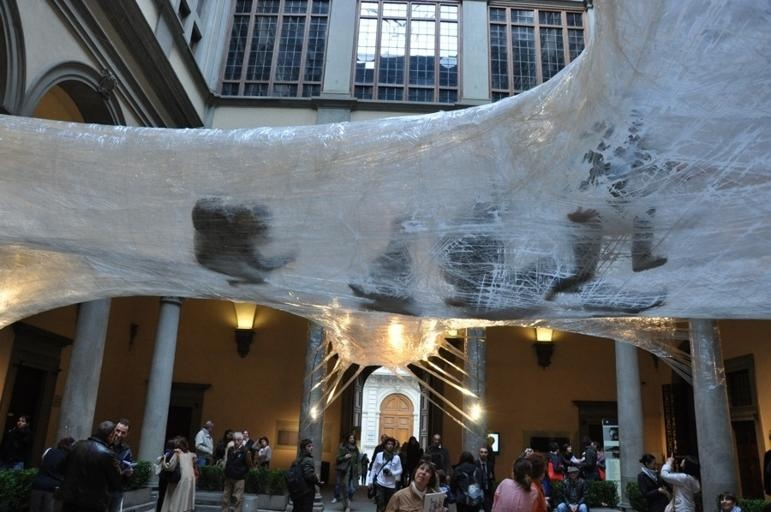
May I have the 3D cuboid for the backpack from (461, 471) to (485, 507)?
[{"bbox_3d":[1.194,3.259,7.363,0.323,0.528,0.202,13,-25,-23],"label":"backpack"}]

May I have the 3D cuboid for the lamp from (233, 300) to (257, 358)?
[{"bbox_3d":[-4.100,2.153,15.317,0.740,1.499,0.531,8,-23,-12],"label":"lamp"}]

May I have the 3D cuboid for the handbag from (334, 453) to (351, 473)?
[{"bbox_3d":[-0.837,4.086,10.457,0.336,0.312,0.144,6,7,32],"label":"handbag"}]

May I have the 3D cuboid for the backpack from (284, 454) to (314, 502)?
[{"bbox_3d":[-1.201,3.190,7.586,0.386,0.600,0.259,5,-23,-4],"label":"backpack"}]

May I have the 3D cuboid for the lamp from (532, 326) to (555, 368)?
[{"bbox_3d":[4.467,2.621,14.951,0.606,1.077,0.490,-2,-23,12],"label":"lamp"}]

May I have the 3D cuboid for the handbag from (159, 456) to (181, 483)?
[{"bbox_3d":[-3.132,3.080,7.680,0.230,0.408,0.387,22,-29,-39],"label":"handbag"}]

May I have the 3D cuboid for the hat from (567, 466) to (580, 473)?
[{"bbox_3d":[2.551,2.913,7.250,0.184,0.055,0.176,0,-13,3],"label":"hat"}]
